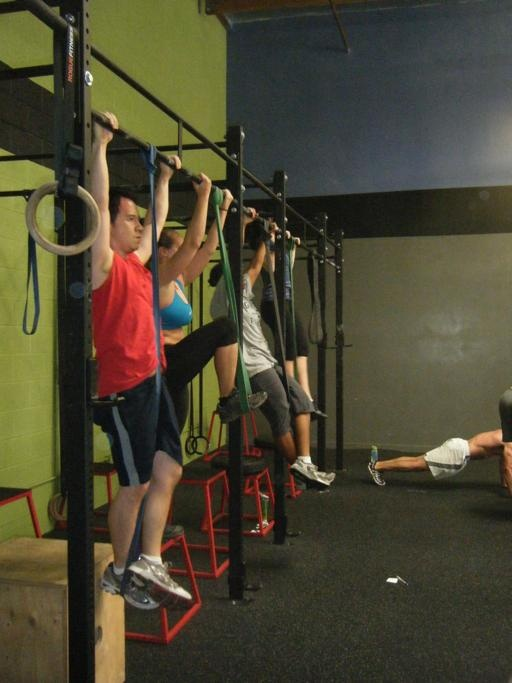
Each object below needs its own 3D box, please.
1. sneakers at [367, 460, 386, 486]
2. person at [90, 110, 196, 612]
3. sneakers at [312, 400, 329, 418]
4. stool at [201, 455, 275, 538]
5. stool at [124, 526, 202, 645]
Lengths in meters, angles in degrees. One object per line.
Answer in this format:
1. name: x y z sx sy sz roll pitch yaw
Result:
1. sneakers: 0.972 1.110 5.929 0.100 0.253 0.081 -18 9 16
2. person: -0.373 0.135 2.446 0.333 1.602 0.770 0 2 -12
3. sneakers: 0.388 0.430 4.501 0.098 0.090 0.269 9 0 5
4. stool: -0.115 0.902 4.684 0.526 0.597 0.481 -1 -8 10
5. stool: -0.394 1.051 3.215 0.329 0.478 0.455 -2 -5 25
